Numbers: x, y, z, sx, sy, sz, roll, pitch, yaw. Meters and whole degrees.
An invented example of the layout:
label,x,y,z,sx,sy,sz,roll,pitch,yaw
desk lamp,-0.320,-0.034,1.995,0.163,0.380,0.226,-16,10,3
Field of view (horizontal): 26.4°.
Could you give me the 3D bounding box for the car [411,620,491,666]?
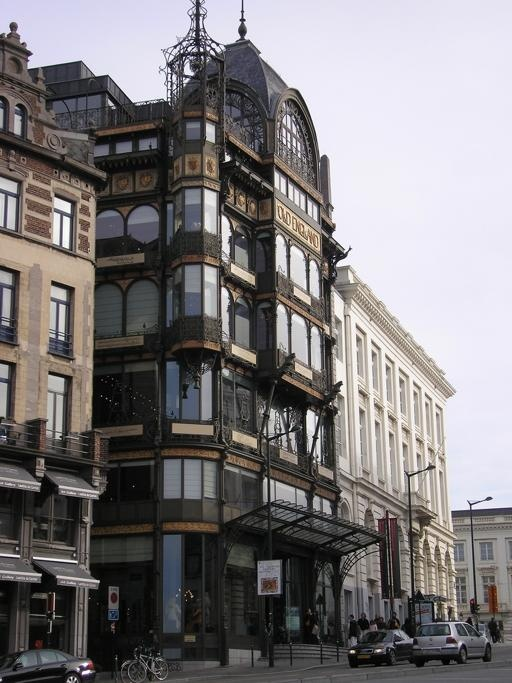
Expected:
label,x,y,z,sx,sy,sz,roll,pitch,yaw
car,6.607,10.082,36.607,1.666,1.393,3.790,-12,-18,30
